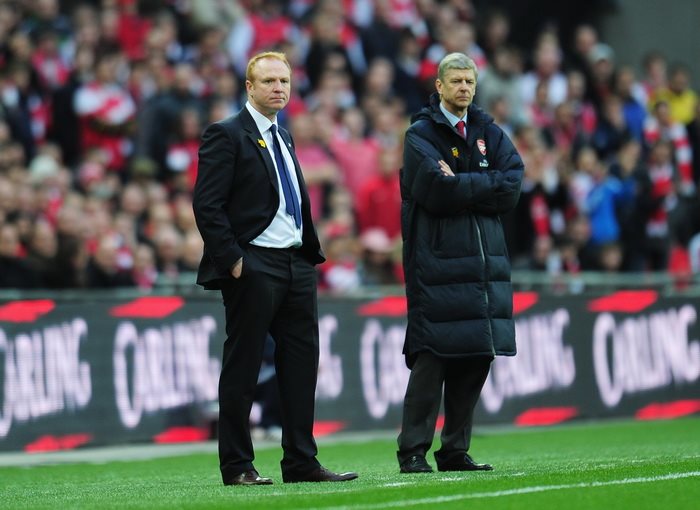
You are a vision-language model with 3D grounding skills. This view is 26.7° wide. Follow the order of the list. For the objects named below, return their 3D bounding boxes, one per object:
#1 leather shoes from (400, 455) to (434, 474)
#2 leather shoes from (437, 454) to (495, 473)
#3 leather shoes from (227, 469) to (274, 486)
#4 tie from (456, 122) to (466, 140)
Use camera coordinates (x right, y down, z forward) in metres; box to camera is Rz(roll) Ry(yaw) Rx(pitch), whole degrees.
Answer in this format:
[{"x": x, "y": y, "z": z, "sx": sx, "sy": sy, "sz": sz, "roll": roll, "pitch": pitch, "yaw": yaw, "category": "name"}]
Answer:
[{"x": 0.582, "y": 1.865, "z": 13.289, "sx": 0.142, "sy": 0.126, "sz": 0.262, "roll": 5, "pitch": -12, "yaw": -37, "category": "leather shoes"}, {"x": 1.024, "y": 1.865, "z": 13.403, "sx": 0.540, "sy": 0.242, "sz": 0.201, "roll": -1, "pitch": -2, "yaw": 1, "category": "leather shoes"}, {"x": -0.879, "y": 1.980, "z": 13.126, "sx": 0.432, "sy": 0.206, "sz": 0.159, "roll": -8, "pitch": -11, "yaw": 19, "category": "leather shoes"}, {"x": 1.012, "y": -1.126, "z": 13.516, "sx": 0.092, "sy": 0.146, "sz": 0.047, "roll": -17, "pitch": 4, "yaw": -25, "category": "tie"}]
